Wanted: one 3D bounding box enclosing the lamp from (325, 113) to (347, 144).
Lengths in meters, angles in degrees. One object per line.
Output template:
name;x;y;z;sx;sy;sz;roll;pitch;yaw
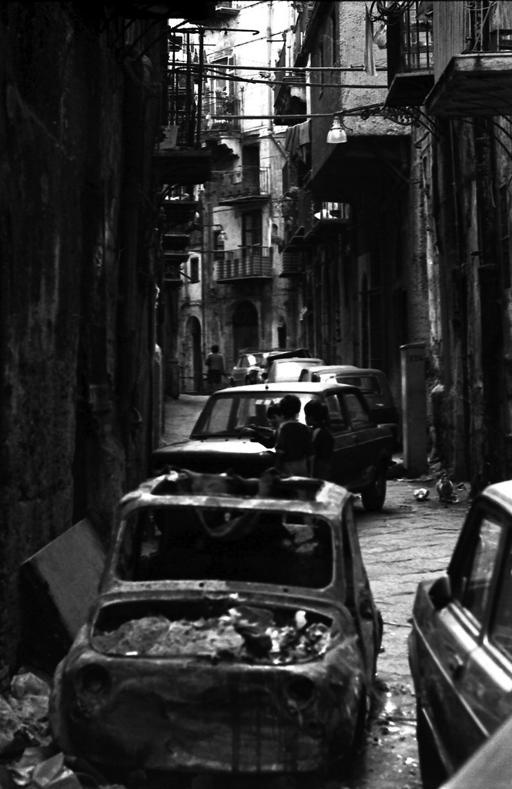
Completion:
lamp;1.512;-4.995;17.449;0.302;0.719;1.461;-3;4;6
